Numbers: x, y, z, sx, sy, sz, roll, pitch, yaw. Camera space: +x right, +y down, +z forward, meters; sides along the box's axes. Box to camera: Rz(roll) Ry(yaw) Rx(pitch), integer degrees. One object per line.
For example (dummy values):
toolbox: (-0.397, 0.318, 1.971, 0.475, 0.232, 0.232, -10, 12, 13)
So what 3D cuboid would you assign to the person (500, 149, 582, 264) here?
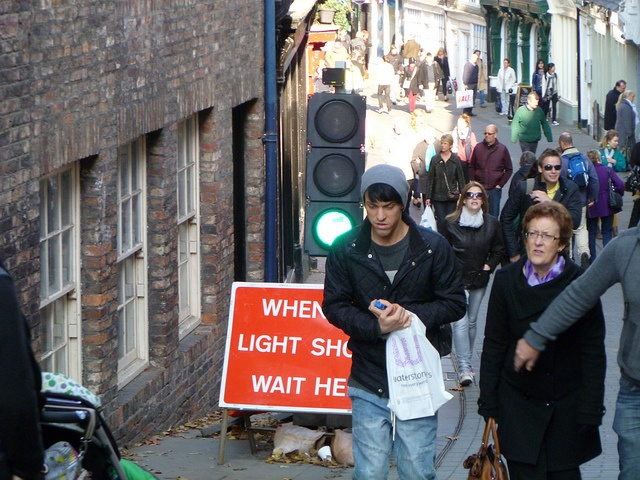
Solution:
person: (2.334, 0.074, 12.701, 0.753, 2.100, 0.485, 3, 18, 10)

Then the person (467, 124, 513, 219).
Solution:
person: (2.554, -0.869, 18.103, 0.612, 1.828, 0.345, 8, 31, 16)

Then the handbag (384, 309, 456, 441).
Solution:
handbag: (0.599, 0.777, 7.302, 0.376, 0.648, 0.159, -2, 8, -14)

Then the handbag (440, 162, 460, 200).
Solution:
handbag: (1.851, -0.806, 16.958, 0.166, 0.444, 0.263, -12, -4, 41)

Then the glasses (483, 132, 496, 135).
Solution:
glasses: (2.489, -1.550, 17.524, 0.121, 0.033, 0.113, 3, 9, 20)

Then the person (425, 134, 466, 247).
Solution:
person: (1.798, -0.668, 17.100, 0.555, 1.634, 0.345, 2, 22, 9)

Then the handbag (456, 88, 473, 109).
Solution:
handbag: (4.087, -3.965, 33.777, 0.400, 0.467, 0.650, 1, 8, 12)

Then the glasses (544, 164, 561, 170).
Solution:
glasses: (2.414, -0.742, 12.402, 0.180, 0.071, 0.060, -4, 9, -22)

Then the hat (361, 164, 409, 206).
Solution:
hat: (0.403, -0.326, 7.458, 0.289, 0.274, 0.261, 0, 8, 2)

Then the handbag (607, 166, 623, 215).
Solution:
handbag: (4.008, -0.638, 16.286, 0.187, 0.635, 0.331, 2, 8, 14)
